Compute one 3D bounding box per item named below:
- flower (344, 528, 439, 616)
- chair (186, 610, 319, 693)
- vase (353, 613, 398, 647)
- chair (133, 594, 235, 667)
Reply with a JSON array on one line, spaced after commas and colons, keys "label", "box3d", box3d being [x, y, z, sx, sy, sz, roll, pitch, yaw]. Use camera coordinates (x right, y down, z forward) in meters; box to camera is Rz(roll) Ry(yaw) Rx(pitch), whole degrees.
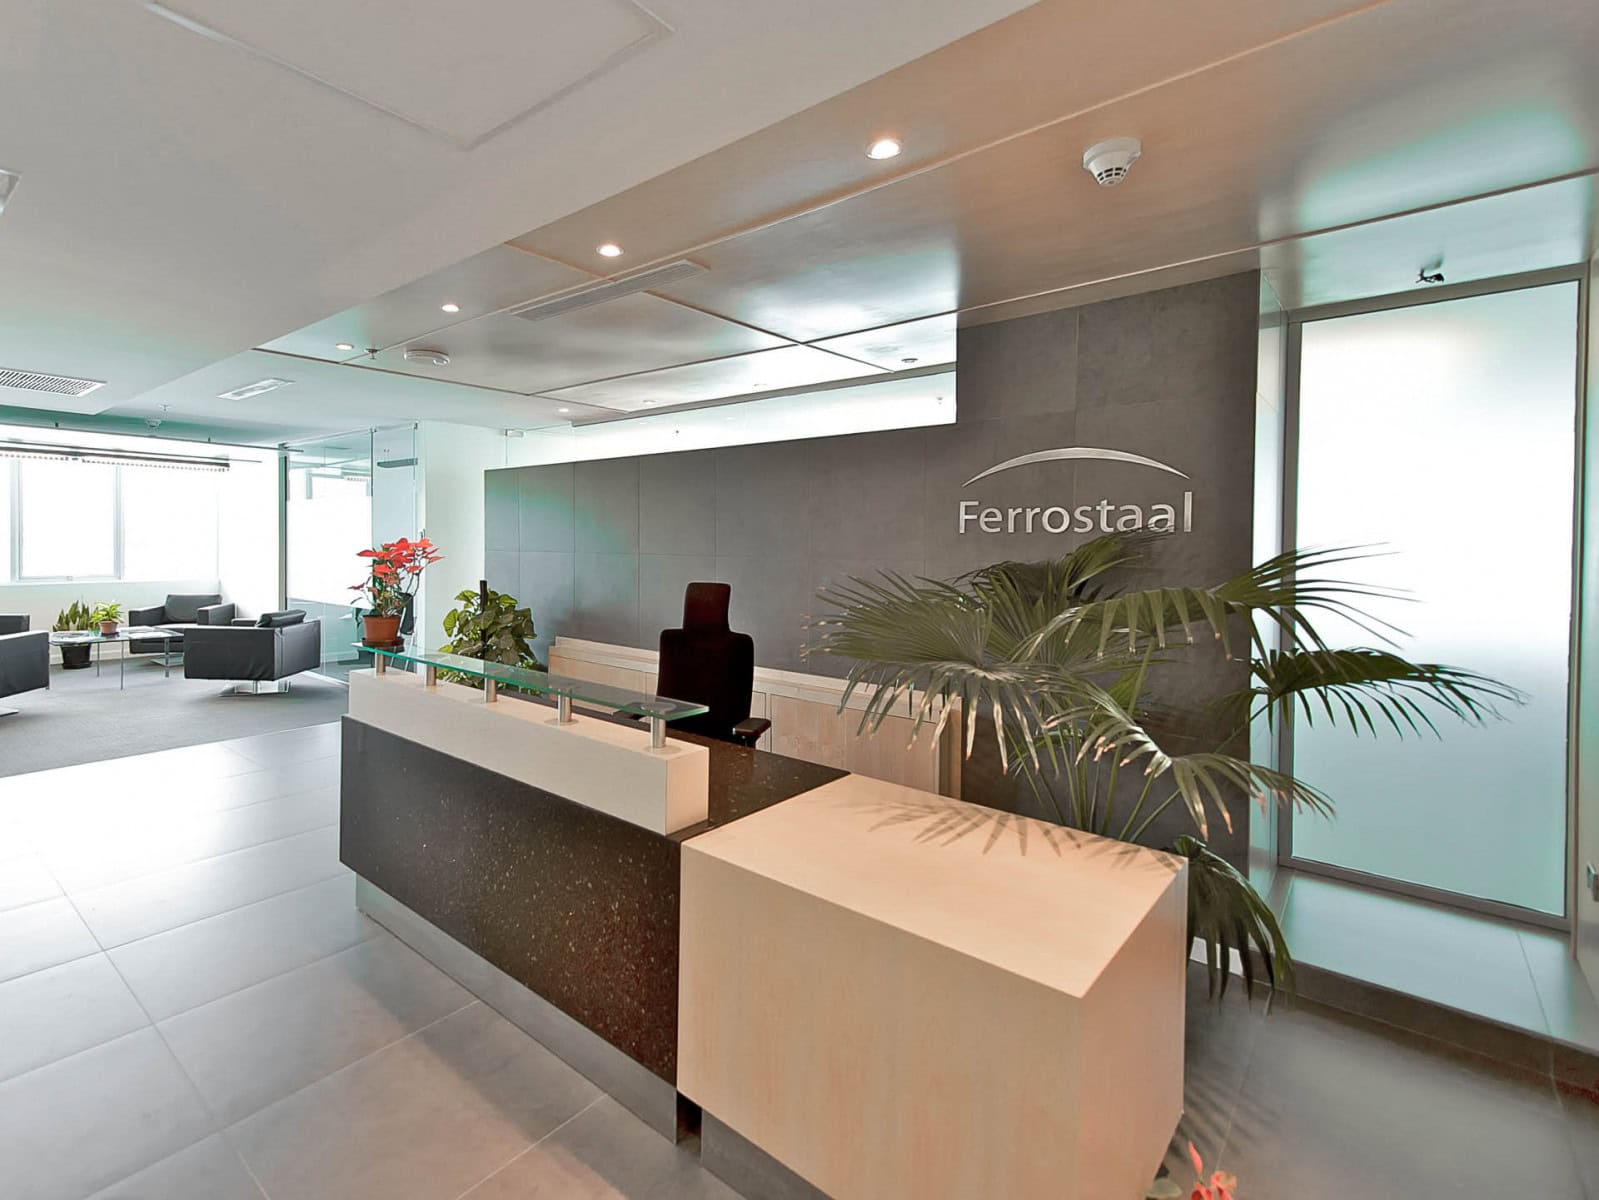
[{"label": "flower", "box3d": [-2.242, -0.115, 5.813, 0.417, 0.401, 0.400, -6, -14, -29]}, {"label": "chair", "box3d": [-5.446, 0.476, 10.638, 0.747, 0.726, 1.056, 3, 2, 17]}, {"label": "vase", "box3d": [-2.159, 0.172, 5.481, 0.241, 0.199, 0.187, -2, 7, -23]}, {"label": "chair", "box3d": [-7.060, 0.225, 12.224, 0.991, 1.008, 1.057, -1, -2, -25]}]
